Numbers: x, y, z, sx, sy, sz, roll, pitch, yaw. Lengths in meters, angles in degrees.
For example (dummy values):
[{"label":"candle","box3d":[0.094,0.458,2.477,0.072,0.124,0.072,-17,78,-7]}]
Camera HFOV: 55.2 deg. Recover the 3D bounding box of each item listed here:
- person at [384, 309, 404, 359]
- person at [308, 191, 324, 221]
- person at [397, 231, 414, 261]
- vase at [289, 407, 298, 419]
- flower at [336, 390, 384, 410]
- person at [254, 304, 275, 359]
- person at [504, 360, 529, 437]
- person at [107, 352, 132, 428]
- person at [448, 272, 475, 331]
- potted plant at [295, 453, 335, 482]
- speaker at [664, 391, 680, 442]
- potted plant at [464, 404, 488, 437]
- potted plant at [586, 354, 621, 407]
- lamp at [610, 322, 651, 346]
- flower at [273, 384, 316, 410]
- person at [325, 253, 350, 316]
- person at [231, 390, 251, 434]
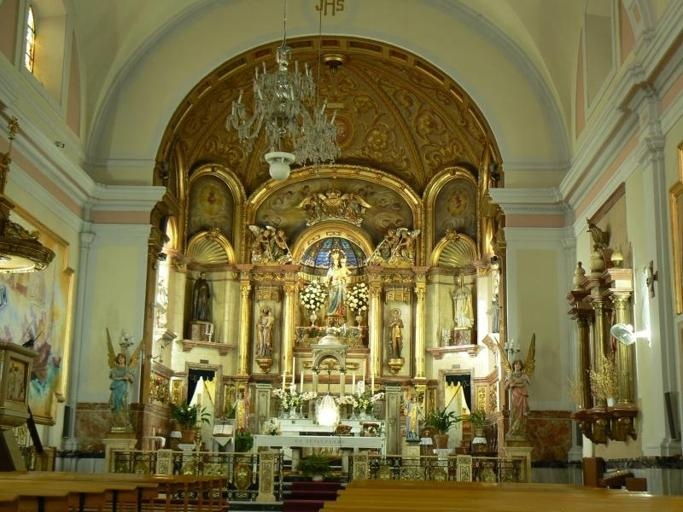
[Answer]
[{"label":"person","box3d":[1.553,2.305,19.093,0.535,1.456,0.342,-1,-17,4]},{"label":"person","box3d":[-0.784,-1.441,19.922,0.456,0.846,0.247,-3,-17,10]},{"label":"person","box3d":[1.938,-0.329,19.466,0.423,0.922,0.251,-1,-17,4]},{"label":"vase","box3d":[-1.154,3.850,15.765,0.162,0.253,0.204,1,-28,-2]},{"label":"flower","box3d":[0.508,3.780,16.952,0.818,0.392,0.860,-3,-22,11]},{"label":"person","box3d":[-2.192,2.201,18.970,0.525,1.604,0.282,3,-17,-9]},{"label":"person","box3d":[3.638,3.039,13.626,0.526,1.635,1.131,-4,-18,13]},{"label":"person","box3d":[-4.592,2.843,13.647,0.480,1.575,0.412,5,-17,-15]},{"label":"person","box3d":[3.524,1.336,18.912,0.551,1.746,0.419,-3,-17,12]},{"label":"potted plant","box3d":[-0.512,4.307,13.261,0.497,0.415,0.562,-5,-14,20]},{"label":"speaker","box3d":[4.553,2.213,9.002,0.149,0.663,0.144,0,-17,1]},{"label":"potted plant","box3d":[3.543,4.344,17.162,0.771,0.909,0.632,1,-17,2]},{"label":"potted plant","box3d":[4.465,2.092,10.967,0.307,0.912,0.826,2,-18,-7]},{"label":"lamp","box3d":[4.480,1.243,10.268,0.400,0.224,0.298,2,-10,10]},{"label":"flower","box3d":[-1.192,3.511,16.660,0.833,0.626,0.882,5,-19,-1]},{"label":"person","box3d":[-0.083,0.819,19.930,0.671,2.085,0.476,1,-17,-1]},{"label":"person","box3d":[-2.783,4.318,18.252,0.456,1.193,0.498,3,-17,-8]}]
